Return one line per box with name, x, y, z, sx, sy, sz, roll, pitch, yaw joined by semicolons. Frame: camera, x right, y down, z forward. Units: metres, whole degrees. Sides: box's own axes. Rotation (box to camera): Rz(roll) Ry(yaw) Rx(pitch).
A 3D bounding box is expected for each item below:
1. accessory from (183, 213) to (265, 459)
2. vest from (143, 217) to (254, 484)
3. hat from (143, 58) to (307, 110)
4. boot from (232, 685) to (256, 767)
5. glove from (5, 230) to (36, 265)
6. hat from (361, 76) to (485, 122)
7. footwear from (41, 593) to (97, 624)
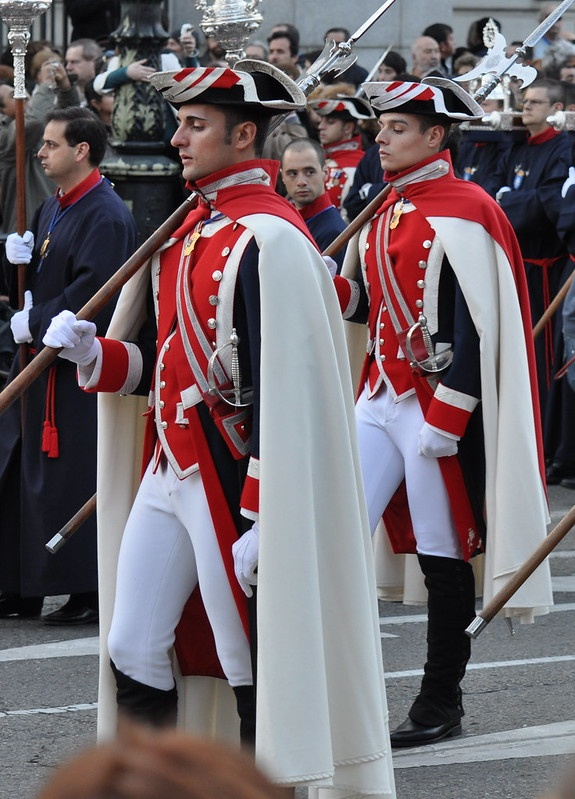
accessory;-0.147;-0.116;2.896;0.143;0.445;0.287;-2;4;18
vest;-0.222;-0.111;2.958;0.171;0.515;0.365;12;-15;-41
hat;-0.166;-0.724;2.987;0.350;0.099;0.260;3;8;29
boot;-0.092;0.741;2.866;0.062;0.186;0.067;-2;-6;-17
glove;-1.084;-0.603;5.147;0.135;0.132;0.049;0;-17;-5
hat;0.430;-0.944;4.057;0.268;0.082;0.194;5;5;-10
footwear;-0.888;0.859;5.238;0.283;0.093;0.100;-1;-1;-25
